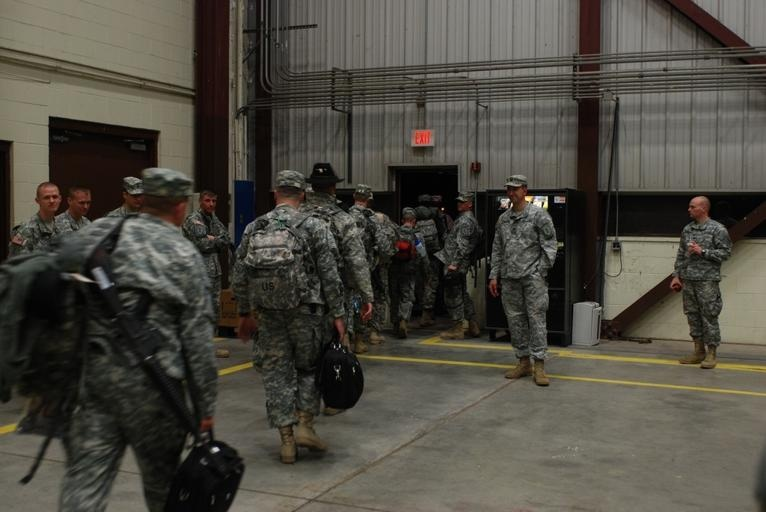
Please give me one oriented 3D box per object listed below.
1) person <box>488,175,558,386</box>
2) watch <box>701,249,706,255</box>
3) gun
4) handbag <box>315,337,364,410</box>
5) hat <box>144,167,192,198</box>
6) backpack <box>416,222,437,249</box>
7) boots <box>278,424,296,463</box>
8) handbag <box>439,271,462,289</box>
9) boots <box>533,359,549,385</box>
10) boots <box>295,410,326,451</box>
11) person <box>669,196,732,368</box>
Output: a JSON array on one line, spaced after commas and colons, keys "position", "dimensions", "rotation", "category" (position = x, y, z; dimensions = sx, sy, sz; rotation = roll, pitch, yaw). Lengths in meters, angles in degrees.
[{"position": [1.718, 0.290, 8.671], "dimensions": [0.851, 2.530, 0.392], "rotation": [7, 10, 40], "category": "person"}, {"position": [4.183, -0.052, 9.265], "dimensions": [0.092, 0.071, 0.047], "rotation": [-3, 9, -22], "category": "watch"}, {"position": [-1.499, 0.543, 4.335], "dimensions": [0.233, 1.287, 0.193], "rotation": [-30, 2, 29], "category": "gun"}, {"position": [-0.384, 1.047, 6.281], "dimensions": [0.366, 0.619, 0.550], "rotation": [1, -5, 1], "category": "handbag"}, {"position": [-1.399, -0.470, 4.546], "dimensions": [0.191, 0.100, 0.260], "rotation": [4, 2, 2], "category": "hat"}, {"position": [0.726, -0.343, 12.169], "dimensions": [0.408, 0.565, 0.317], "rotation": [-4, 9, 9], "category": "backpack"}, {"position": [-0.848, 1.690, 6.391], "dimensions": [0.147, 0.333, 0.359], "rotation": [-8, -5, 2], "category": "boots"}, {"position": [1.144, 0.385, 11.250], "dimensions": [0.326, 0.300, 0.323], "rotation": [0, 8, -1], "category": "handbag"}, {"position": [1.924, 1.429, 8.589], "dimensions": [0.205, 0.318, 0.371], "rotation": [2, 9, 12], "category": "boots"}, {"position": [-0.682, 1.600, 6.303], "dimensions": [0.182, 0.352, 0.504], "rotation": [-7, -23, 19], "category": "boots"}, {"position": [4.244, 0.368, 9.494], "dimensions": [0.679, 2.297, 0.498], "rotation": [6, 10, 37], "category": "person"}]
